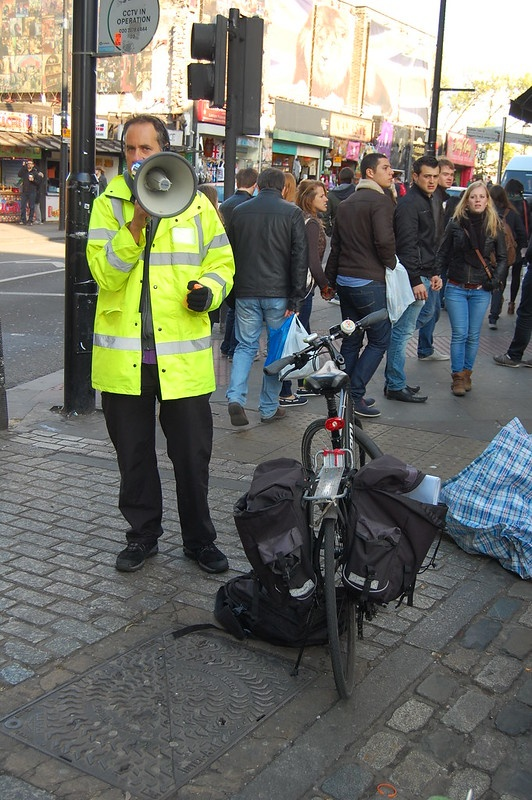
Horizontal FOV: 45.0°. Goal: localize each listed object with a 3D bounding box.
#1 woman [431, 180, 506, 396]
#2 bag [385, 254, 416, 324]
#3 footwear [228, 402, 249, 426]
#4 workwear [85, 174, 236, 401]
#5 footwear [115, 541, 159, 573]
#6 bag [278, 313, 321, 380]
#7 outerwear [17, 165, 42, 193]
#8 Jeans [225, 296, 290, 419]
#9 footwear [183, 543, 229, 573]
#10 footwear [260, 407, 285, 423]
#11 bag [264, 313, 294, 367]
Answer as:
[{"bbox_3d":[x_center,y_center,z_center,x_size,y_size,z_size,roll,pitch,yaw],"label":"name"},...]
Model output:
[{"bbox_3d":[2.130,-1.156,6.941,0.794,2.156,0.735,3,17,14],"label":"woman"},{"bbox_3d":[1.192,-0.983,5.843,0.219,0.573,0.461,4,6,25],"label":"bag"},{"bbox_3d":[-0.248,0.130,5.407,0.104,0.246,0.113,-4,36,6],"label":"footwear"},{"bbox_3d":[-0.453,-0.478,2.843,0.657,0.969,0.397,0,6,-16],"label":"workwear"},{"bbox_3d":[-0.628,0.752,3.099,0.076,0.092,0.218,12,5,17],"label":"footwear"},{"bbox_3d":[0.194,-0.507,5.262,0.212,0.392,0.179,9,13,-19],"label":"bag"},{"bbox_3d":[-9.820,-9.181,26.796,0.799,1.179,1.451,0,6,-19],"label":"outerwear"},{"bbox_3d":[-0.091,-0.440,5.824,0.647,1.303,0.379,-3,13,-29],"label":"Jeans"},{"bbox_3d":[-0.299,0.747,3.143,0.253,0.108,0.095,9,13,42],"label":"footwear"},{"bbox_3d":[0.059,0.138,5.868,0.094,0.120,0.281,20,31,32],"label":"footwear"},{"bbox_3d":[0.098,-0.494,5.060,0.190,0.253,0.634,-9,-10,-7],"label":"bag"}]
